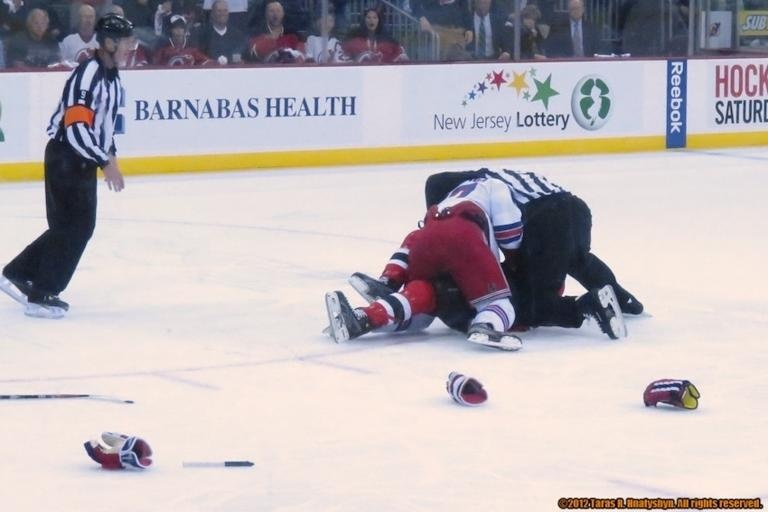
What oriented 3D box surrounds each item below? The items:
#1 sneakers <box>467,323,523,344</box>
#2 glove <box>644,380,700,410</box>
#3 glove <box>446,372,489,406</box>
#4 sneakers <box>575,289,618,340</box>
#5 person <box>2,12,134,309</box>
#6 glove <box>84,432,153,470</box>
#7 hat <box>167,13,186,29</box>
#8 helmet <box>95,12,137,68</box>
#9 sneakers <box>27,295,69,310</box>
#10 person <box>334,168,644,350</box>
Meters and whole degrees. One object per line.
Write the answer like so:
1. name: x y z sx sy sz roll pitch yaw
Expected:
1. sneakers: 0.674 0.457 6.305 0.340 0.125 0.115 1 -14 -9
2. glove: 1.485 0.718 5.569 0.244 0.092 0.148 7 49 22
3. glove: 0.437 0.696 5.626 0.141 0.087 0.217 -4 9 -17
4. sneakers: 1.291 0.328 6.408 0.194 0.371 0.136 -22 24 22
5. person: -2.079 -0.612 7.145 0.928 1.986 0.467 -2 9 -11
6. glove: -1.240 0.913 5.055 0.272 0.109 0.174 2 9 -1
7. hat: -2.370 -2.761 12.622 0.221 0.154 0.068 -7 11 -39
8. helmet: -1.761 -1.434 7.138 0.239 0.357 0.203 -3 9 -12
9. sneakers: -2.191 0.317 7.098 0.258 0.097 0.108 1 14 -16
10. person: 0.580 0.032 6.511 1.136 0.702 1.517 1 -1 40
